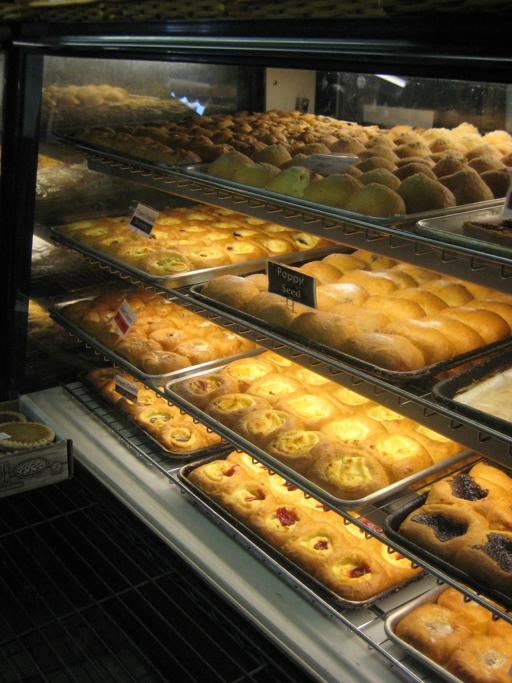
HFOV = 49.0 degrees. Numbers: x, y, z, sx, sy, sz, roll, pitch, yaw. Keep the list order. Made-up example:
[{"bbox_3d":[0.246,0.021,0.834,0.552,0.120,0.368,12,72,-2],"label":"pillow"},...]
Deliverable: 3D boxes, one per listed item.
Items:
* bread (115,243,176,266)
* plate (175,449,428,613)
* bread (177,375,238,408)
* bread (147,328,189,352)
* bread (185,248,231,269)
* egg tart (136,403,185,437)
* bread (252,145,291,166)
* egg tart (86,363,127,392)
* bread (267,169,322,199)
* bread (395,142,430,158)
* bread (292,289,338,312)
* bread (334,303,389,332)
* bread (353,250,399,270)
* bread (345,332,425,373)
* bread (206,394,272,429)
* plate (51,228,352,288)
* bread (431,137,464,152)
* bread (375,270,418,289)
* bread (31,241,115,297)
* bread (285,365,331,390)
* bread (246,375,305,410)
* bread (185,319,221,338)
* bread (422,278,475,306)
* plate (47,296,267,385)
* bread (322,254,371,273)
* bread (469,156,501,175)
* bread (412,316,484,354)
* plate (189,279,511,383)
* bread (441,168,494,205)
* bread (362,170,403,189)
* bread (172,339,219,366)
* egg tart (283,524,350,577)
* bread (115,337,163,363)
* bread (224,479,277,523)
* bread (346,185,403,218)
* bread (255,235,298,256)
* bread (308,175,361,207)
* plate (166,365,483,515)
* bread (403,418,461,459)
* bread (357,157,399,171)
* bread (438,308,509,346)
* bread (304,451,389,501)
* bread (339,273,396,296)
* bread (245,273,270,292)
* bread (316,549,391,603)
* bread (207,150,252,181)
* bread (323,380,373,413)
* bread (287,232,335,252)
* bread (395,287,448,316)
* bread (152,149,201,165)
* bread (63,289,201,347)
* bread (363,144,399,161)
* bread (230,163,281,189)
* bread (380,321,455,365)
[{"bbox_3d":[-0.384,-0.309,1.941,0.139,0.031,0.123,-2,21,-5],"label":"bread"},{"bbox_3d":[0.102,0.506,1.569,0.585,0.055,0.291,25,27,36],"label":"plate"},{"bbox_3d":[-0.154,0.134,1.711,0.121,0.040,0.113,-12,25,-31],"label":"bread"},{"bbox_3d":[-0.319,-0.014,2.077,0.105,0.034,0.098,5,23,-19],"label":"bread"},{"bbox_3d":[-0.155,-0.292,1.871,0.102,0.030,0.100,-11,32,-41],"label":"bread"},{"bbox_3d":[-0.358,0.284,2.074,0.119,0.032,0.120,33,43,32],"label":"egg tart"},{"bbox_3d":[0.042,-0.467,1.439,0.087,0.032,0.075,-11,60,-21],"label":"bread"},{"bbox_3d":[-0.614,0.140,2.335,0.125,0.035,0.123,29,53,36],"label":"egg tart"},{"bbox_3d":[0.085,-0.367,1.277,0.099,0.056,0.104,-10,31,-16],"label":"bread"},{"bbox_3d":[0.330,-0.410,1.198,0.055,0.017,0.051,17,42,26],"label":"bread"},{"bbox_3d":[0.160,-0.104,1.368,0.074,0.019,0.050,8,54,10],"label":"bread"},{"bbox_3d":[0.243,-0.058,1.277,0.084,0.017,0.068,13,28,-1],"label":"bread"},{"bbox_3d":[0.315,-0.213,1.469,0.101,0.027,0.093,12,21,16],"label":"bread"},{"bbox_3d":[0.267,0.015,1.146,0.081,0.054,0.174,-3,16,-24],"label":"bread"},{"bbox_3d":[-0.061,0.185,1.612,0.106,0.037,0.111,-15,27,-29],"label":"bread"},{"bbox_3d":[-0.125,-0.282,1.835,0.422,0.032,0.442,-19,30,-38],"label":"plate"},{"bbox_3d":[0.404,-0.419,1.188,0.051,0.016,0.051,29,44,33],"label":"bread"},{"bbox_3d":[0.363,-0.166,1.456,0.077,0.035,0.053,6,20,-20],"label":"bread"},{"bbox_3d":[-0.753,-0.279,2.279,0.252,0.051,0.258,-21,39,-37],"label":"bread"},{"bbox_3d":[0.160,0.115,1.775,0.071,0.017,0.109,-17,34,-28],"label":"bread"},{"bbox_3d":[0.057,0.149,1.698,0.099,0.023,0.097,-21,31,-32],"label":"bread"},{"bbox_3d":[-0.202,-0.054,2.179,0.088,0.028,0.088,24,31,38],"label":"bread"},{"bbox_3d":[0.464,-0.123,1.341,0.081,0.023,0.081,-4,31,-24],"label":"bread"},{"bbox_3d":[-0.428,-0.099,2.138,0.396,0.091,0.632,-18,29,-39],"label":"plate"},{"bbox_3d":[0.254,-0.233,1.612,0.088,0.041,0.086,-8,25,-41],"label":"bread"},{"bbox_3d":[0.432,-0.337,1.062,0.044,0.014,0.042,5,28,13],"label":"bread"},{"bbox_3d":[0.399,-0.029,1.148,0.079,0.027,0.099,-20,38,-27],"label":"bread"},{"bbox_3d":[0.204,-0.079,1.242,0.266,0.040,0.444,-25,31,-36],"label":"plate"},{"bbox_3d":[0.387,-0.277,1.038,0.082,0.042,0.076,-21,49,-25],"label":"bread"},{"bbox_3d":[0.250,-0.327,1.115,0.061,0.034,0.058,-17,46,-34],"label":"bread"},{"bbox_3d":[-0.202,0.031,2.019,0.108,0.036,0.099,-11,29,-28],"label":"bread"},{"bbox_3d":[0.180,0.545,1.506,0.156,0.132,0.040,-28,-11,32],"label":"egg tart"},{"bbox_3d":[-0.419,0.025,2.007,0.163,0.043,0.084,11,42,35],"label":"bread"},{"bbox_3d":[-0.023,0.468,1.668,0.098,0.029,0.094,26,37,35],"label":"bread"},{"bbox_3d":[0.227,-0.266,1.059,0.081,0.048,0.092,19,38,12],"label":"bread"},{"bbox_3d":[0.075,-0.341,1.981,0.118,0.030,0.105,-8,37,-24],"label":"bread"},{"bbox_3d":[0.165,-0.320,1.174,0.093,0.053,0.099,-7,27,-11],"label":"bread"},{"bbox_3d":[0.141,0.223,1.497,0.364,0.078,0.590,-18,28,-38],"label":"plate"},{"bbox_3d":[0.433,0.229,1.413,0.130,0.029,0.120,-9,28,-35],"label":"bread"},{"bbox_3d":[0.253,-0.375,1.179,0.059,0.016,0.054,-5,26,-10],"label":"bread"},{"bbox_3d":[0.462,-0.045,1.165,0.094,0.039,0.093,22,27,36],"label":"bread"},{"bbox_3d":[0.211,0.303,1.296,0.142,0.054,0.192,-6,18,-32],"label":"bread"},{"bbox_3d":[0.297,-0.153,1.445,0.097,0.025,0.085,14,32,19],"label":"bread"},{"bbox_3d":[0.009,-0.176,1.619,0.066,0.017,0.063,23,27,18],"label":"bread"},{"bbox_3d":[0.244,0.581,1.388,0.149,0.036,0.154,-5,17,-29],"label":"bread"},{"bbox_3d":[-0.060,-0.457,1.491,0.104,0.058,0.114,-23,37,-18],"label":"bread"},{"bbox_3d":[0.263,0.162,1.661,0.072,0.018,0.121,-18,32,-30],"label":"bread"},{"bbox_3d":[0.186,-0.347,1.944,0.154,0.044,0.146,24,20,14],"label":"bread"},{"bbox_3d":[0.389,-0.103,1.309,0.078,0.024,0.083,-24,42,-32],"label":"bread"},{"bbox_3d":[-0.222,-0.537,1.623,0.081,0.018,0.040,10,37,18],"label":"bread"},{"bbox_3d":[-0.539,-0.126,2.271,0.322,0.080,0.376,-19,33,-36],"label":"bread"},{"bbox_3d":[0.272,-0.415,1.221,0.056,0.019,0.052,17,30,16],"label":"bread"},{"bbox_3d":[0.005,-0.408,1.371,0.095,0.044,0.100,-2,25,-13],"label":"bread"},{"bbox_3d":[0.336,-0.009,1.137,0.088,0.054,0.165,-26,37,-21],"label":"bread"}]
